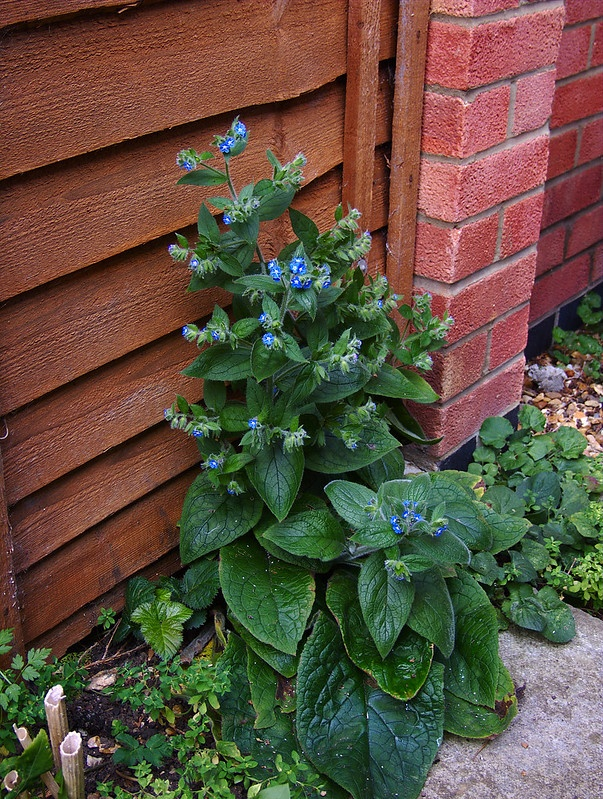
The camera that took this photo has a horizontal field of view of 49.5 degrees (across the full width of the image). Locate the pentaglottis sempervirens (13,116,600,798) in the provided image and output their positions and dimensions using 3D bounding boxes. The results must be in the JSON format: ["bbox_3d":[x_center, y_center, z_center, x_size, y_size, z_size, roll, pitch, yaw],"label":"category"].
[{"bbox_3d":[0.177,0.076,1.433,0.871,1.275,1.205,23,41,34],"label":"pentaglottis sempervirens"}]
